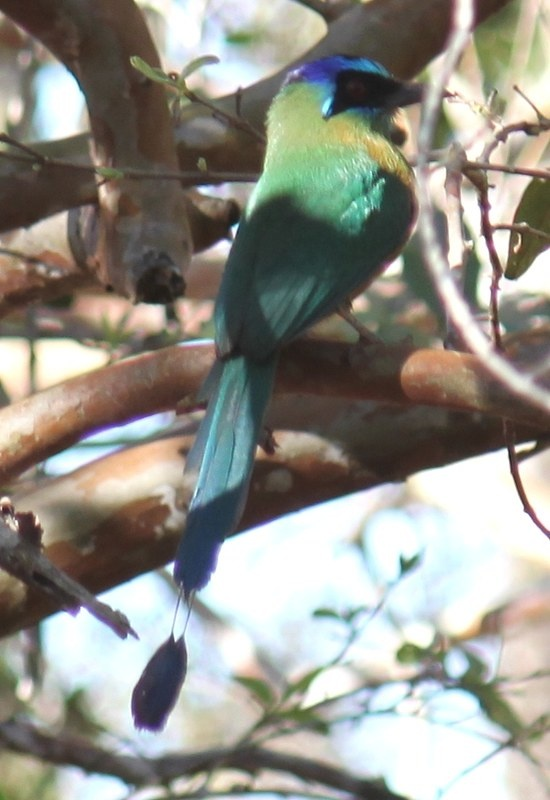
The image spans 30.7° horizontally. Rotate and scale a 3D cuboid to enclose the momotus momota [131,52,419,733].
[{"bbox_3d":[0.100,-0.297,2.502,0.485,1.180,1.248,-1,11,14],"label":"momotus momota"}]
